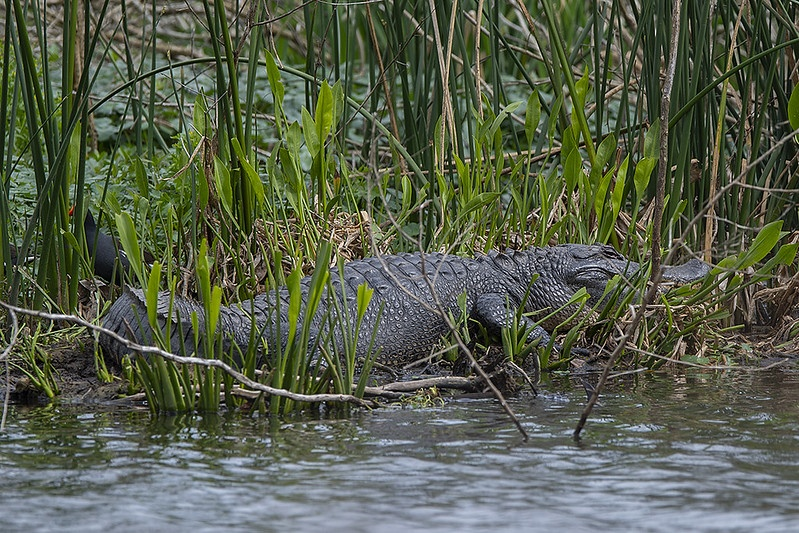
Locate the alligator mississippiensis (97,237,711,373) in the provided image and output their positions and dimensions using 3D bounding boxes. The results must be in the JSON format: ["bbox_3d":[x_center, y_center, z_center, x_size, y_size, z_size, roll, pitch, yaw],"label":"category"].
[{"bbox_3d":[0.116,0.234,5.799,3.021,0.564,0.876,-6,9,-23],"label":"alligator mississippiensis"}]
